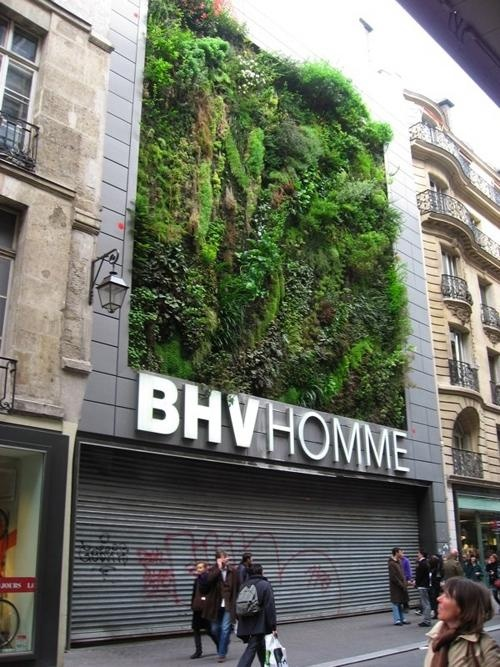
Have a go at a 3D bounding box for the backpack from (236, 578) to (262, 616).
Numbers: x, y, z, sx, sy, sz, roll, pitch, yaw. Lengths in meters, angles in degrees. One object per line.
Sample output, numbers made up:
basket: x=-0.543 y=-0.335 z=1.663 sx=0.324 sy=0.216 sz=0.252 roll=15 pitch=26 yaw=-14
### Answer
backpack: x=-0.033 y=3.008 z=6.368 sx=0.277 sy=0.345 sz=0.183 roll=-8 pitch=-20 yaw=20

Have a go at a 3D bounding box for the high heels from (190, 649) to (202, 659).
high heels: x=-0.800 y=4.751 z=8.369 sx=0.210 sy=0.143 sz=0.073 roll=13 pitch=-28 yaw=-21

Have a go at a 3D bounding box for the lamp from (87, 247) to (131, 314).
lamp: x=-2.325 y=-0.841 z=9.093 sx=0.693 sy=1.191 sz=0.378 roll=-20 pitch=-29 yaw=30
